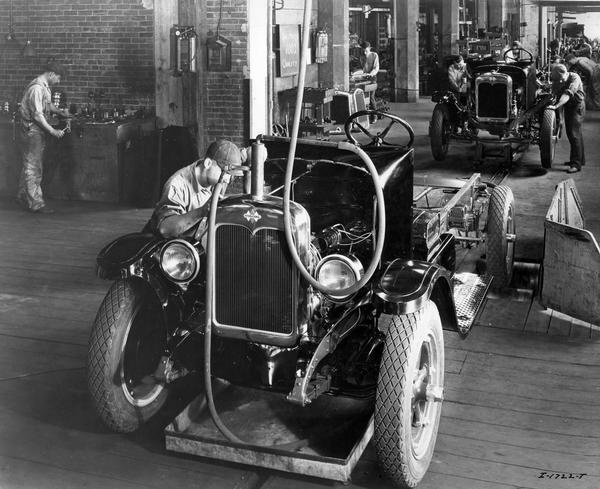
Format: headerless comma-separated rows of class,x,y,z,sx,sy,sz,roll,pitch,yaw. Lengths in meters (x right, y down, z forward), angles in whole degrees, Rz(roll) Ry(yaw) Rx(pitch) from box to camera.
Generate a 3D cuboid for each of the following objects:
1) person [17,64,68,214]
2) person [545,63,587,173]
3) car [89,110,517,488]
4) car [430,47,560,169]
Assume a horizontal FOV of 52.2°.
person,-3.475,-1.340,8.290,0.716,2.391,0.863,-2,30,-30
person,4.361,-2.066,9.977,0.639,1.680,1.190,6,14,26
car,0.143,0.098,3.804,1.329,1.558,2.752,3,12,17
car,3.769,-2.689,11.908,1.675,1.847,3.474,3,15,18
